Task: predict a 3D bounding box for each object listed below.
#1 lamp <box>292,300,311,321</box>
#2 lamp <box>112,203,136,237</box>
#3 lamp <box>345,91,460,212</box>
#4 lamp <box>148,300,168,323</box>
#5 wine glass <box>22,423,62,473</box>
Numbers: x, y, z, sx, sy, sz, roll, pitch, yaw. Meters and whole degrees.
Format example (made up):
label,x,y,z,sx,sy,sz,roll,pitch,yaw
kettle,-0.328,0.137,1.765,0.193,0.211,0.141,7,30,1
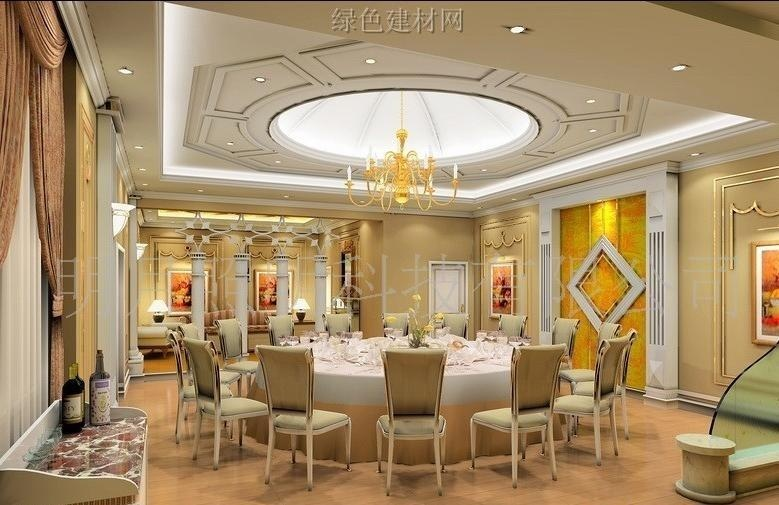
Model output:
label,x,y,z,sx,sy,sz,roll,pitch,yaw
lamp,-2.261,1.455,13.259,0.487,0.538,0.464,-2,2,-14
lamp,-2.883,-0.356,5.626,0.174,0.357,0.633,-2,4,-24
lamp,0.189,-1.466,7.222,1.515,1.581,1.510,0,-1,-39
lamp,-5.321,1.383,12.231,0.520,0.518,0.495,-1,3,-14
wine glass,-2.255,1.310,3.418,0.093,0.058,0.507,5,-3,-9
